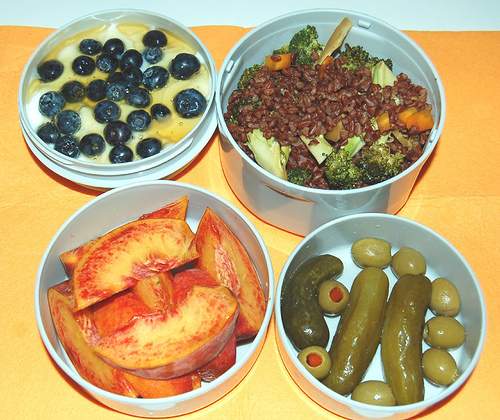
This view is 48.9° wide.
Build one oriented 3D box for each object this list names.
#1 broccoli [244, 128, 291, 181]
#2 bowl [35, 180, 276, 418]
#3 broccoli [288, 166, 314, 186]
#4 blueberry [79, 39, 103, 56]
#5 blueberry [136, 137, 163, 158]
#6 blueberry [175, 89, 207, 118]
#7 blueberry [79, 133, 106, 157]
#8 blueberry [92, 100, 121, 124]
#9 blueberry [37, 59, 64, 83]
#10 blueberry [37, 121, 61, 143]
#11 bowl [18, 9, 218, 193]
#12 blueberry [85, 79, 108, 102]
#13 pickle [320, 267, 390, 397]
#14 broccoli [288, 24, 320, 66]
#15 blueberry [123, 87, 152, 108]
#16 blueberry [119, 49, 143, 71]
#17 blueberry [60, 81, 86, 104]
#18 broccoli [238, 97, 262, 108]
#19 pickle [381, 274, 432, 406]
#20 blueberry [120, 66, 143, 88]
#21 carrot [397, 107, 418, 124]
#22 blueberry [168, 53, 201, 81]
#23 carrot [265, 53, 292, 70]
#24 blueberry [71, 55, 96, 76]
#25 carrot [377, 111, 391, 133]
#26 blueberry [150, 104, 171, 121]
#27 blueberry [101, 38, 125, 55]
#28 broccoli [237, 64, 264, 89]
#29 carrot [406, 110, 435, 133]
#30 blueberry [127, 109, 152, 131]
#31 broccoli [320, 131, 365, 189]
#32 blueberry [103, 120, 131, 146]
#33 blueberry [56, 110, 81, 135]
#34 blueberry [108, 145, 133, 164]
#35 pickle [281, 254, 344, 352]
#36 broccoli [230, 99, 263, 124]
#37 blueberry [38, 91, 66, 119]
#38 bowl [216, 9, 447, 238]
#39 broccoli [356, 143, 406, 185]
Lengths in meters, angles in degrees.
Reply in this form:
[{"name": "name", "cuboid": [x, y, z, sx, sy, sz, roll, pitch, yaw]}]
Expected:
[{"name": "broccoli", "cuboid": [0.050, -0.162, 1.541, 0.132, 0.130, 0.085, 16, 33, 33]}, {"name": "bowl", "cuboid": [-0.241, 0.215, 1.490, 0.524, 0.250, 0.684, -3, 71, -5]}, {"name": "broccoli", "cuboid": [0.136, -0.101, 1.534, 0.042, 0.034, 0.058, -5, 33, 9]}, {"name": "blueberry", "cuboid": [-0.491, -0.506, 1.683, 0.052, 0.032, 0.058, -7, 102, -12]}, {"name": "blueberry", "cuboid": [-0.290, -0.182, 1.574, 0.054, 0.036, 0.054, 0, 52, 3]}, {"name": "blueberry", "cuboid": [-0.176, -0.314, 1.602, 0.069, 0.042, 0.087, -1, 89, -4]}, {"name": "blueberry", "cuboid": [-0.452, -0.190, 1.572, 0.055, 0.033, 0.069, 0, 92, -8]}, {"name": "blueberry", "cuboid": [-0.419, -0.290, 1.598, 0.058, 0.033, 0.072, 0, 98, -8]}, {"name": "blueberry", "cuboid": [-0.597, -0.427, 1.655, 0.069, 0.039, 0.061, -39, 91, -7]}, {"name": "blueberry", "cuboid": [-0.582, -0.226, 1.588, 0.044, 0.033, 0.065, 1, 68, -17]}, {"name": "bowl", "cuboid": [-0.402, -0.310, 1.821, 0.576, 0.578, 0.495, -13, 36, -3]}, {"name": "blueberry", "cuboid": [-0.454, -0.357, 1.623, 0.051, 0.036, 0.069, 27, 93, -8]}, {"name": "pickle", "cuboid": [0.276, 0.304, 1.385, 0.105, 0.068, 0.330, 23, 65, 7]}, {"name": "broccoli", "cuboid": [0.154, -0.498, 1.681, 0.088, 0.103, 0.139, -6, 37, -1]}, {"name": "blueberry", "cuboid": [-0.329, -0.337, 1.618, 0.058, 0.034, 0.066, -12, 93, -6]}, {"name": "blueberry", "cuboid": [-0.357, -0.464, 1.662, 0.050, 0.073, 0.057, -2, 30, -12]}, {"name": "blueberry", "cuboid": [-0.525, -0.348, 1.629, 0.056, 0.035, 0.071, -1, 93, -10]}, {"name": "broccoli", "cuboid": [-0.002, -0.317, 1.597, 0.050, 0.013, 0.037, 9, 81, 17]}, {"name": "pickle", "cuboid": [0.390, 0.321, 1.381, 0.113, 0.083, 0.329, 11, 64, 1]}, {"name": "blueberry", "cuboid": [-0.351, -0.403, 1.633, 0.053, 0.032, 0.067, -4, 91, -9]}, {"name": "carrot", "cuboid": [0.450, -0.270, 1.568, 0.040, 0.022, 0.047, -14, 93, 5]}, {"name": "blueberry", "cuboid": [-0.204, -0.446, 1.650, 0.062, 0.053, 0.089, 17, 35, 13]}, {"name": "carrot", "cuboid": [0.088, -0.442, 1.620, 0.069, 0.053, 0.049, -6, 87, -2]}, {"name": "blueberry", "cuboid": [-0.500, -0.442, 1.659, 0.054, 0.033, 0.068, -1, 90, -6]}, {"name": "carrot", "cuboid": [0.381, -0.257, 1.557, 0.042, 0.030, 0.049, -15, 65, -12]}, {"name": "blueberry", "cuboid": [-0.266, -0.289, 1.608, 0.044, 0.037, 0.043, -1, 80, -4]}, {"name": "blueberry", "cuboid": [-0.415, -0.507, 1.676, 0.041, 0.059, 0.033, 2, 42, -8]}, {"name": "broccoli", "cuboid": [0.003, -0.407, 1.663, 0.018, 0.051, 0.088, 34, 80, -13]}, {"name": "carrot", "cuboid": [0.472, -0.255, 1.540, 0.055, 0.028, 0.065, -7, 104, 24]}, {"name": "blueberry", "cuboid": [-0.327, -0.263, 1.595, 0.051, 0.030, 0.064, -2, 91, -5]}, {"name": "broccoli", "cuboid": [0.255, -0.132, 1.505, 0.107, 0.063, 0.169, -3, 84, 4]}, {"name": "blueberry", "cuboid": [-0.385, -0.225, 1.595, 0.082, 0.049, 0.069, -16, 65, -12]}, {"name": "blueberry", "cuboid": [-0.531, -0.253, 1.593, 0.058, 0.032, 0.072, 2, 91, -13]}, {"name": "blueberry", "cuboid": [-0.369, -0.162, 1.570, 0.047, 0.050, 0.058, -2, 95, 3]}, {"name": "pickle", "cuboid": [0.152, 0.268, 1.447, 0.128, 0.162, 0.237, -4, 115, -6]}, {"name": "broccoli", "cuboid": [-0.016, -0.308, 1.602, 0.075, 0.023, 0.057, -44, 39, -9]}, {"name": "blueberry", "cuboid": [-0.590, -0.314, 1.645, 0.085, 0.088, 0.056, -3, 88, -24]}, {"name": "bowl", "cuboid": [0.217, -0.280, 1.711, 0.567, 0.284, 0.742, -1, 84, 0]}, {"name": "broccoli", "cuboid": [0.349, -0.122, 1.486, 0.087, 0.033, 0.123, 0, 95, 14]}]
